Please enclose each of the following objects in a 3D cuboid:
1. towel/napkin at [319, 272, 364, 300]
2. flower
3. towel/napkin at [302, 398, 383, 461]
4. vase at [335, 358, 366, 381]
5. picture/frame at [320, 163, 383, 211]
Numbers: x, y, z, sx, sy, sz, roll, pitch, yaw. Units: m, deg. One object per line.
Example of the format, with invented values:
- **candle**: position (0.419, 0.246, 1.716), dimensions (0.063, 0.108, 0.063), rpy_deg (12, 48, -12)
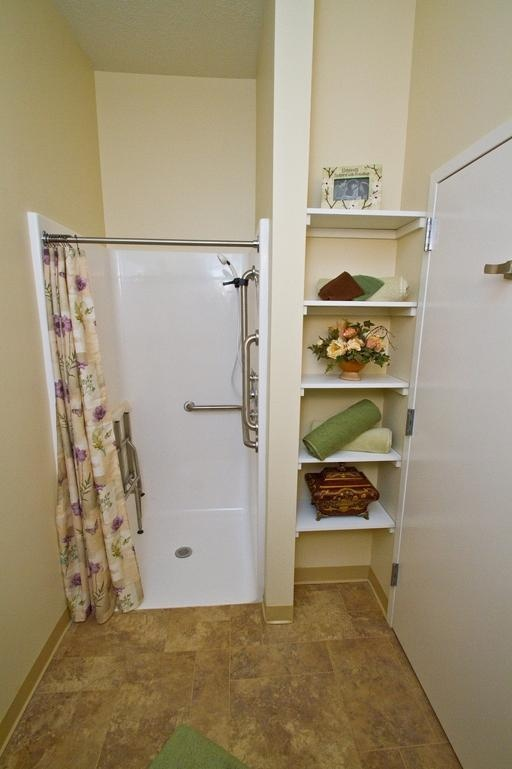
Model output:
- **towel/napkin**: position (0.329, -0.383, 2.011), dimensions (0.179, 0.104, 0.082), rpy_deg (2, 18, 13)
- **flower**: position (0.367, -0.168, 2.111), dimensions (0.254, 0.194, 0.261), rpy_deg (-4, 13, -30)
- **towel/napkin**: position (0.370, 0.179, 2.165), dimensions (0.353, 0.146, 0.167), rpy_deg (-27, 37, -26)
- **vase**: position (0.395, -0.075, 2.117), dimensions (0.084, 0.067, 0.090), rpy_deg (4, 9, 11)
- **picture/frame**: position (0.370, -0.764, 1.991), dimensions (0.218, 0.179, 0.010), rpy_deg (0, 5, -1)
